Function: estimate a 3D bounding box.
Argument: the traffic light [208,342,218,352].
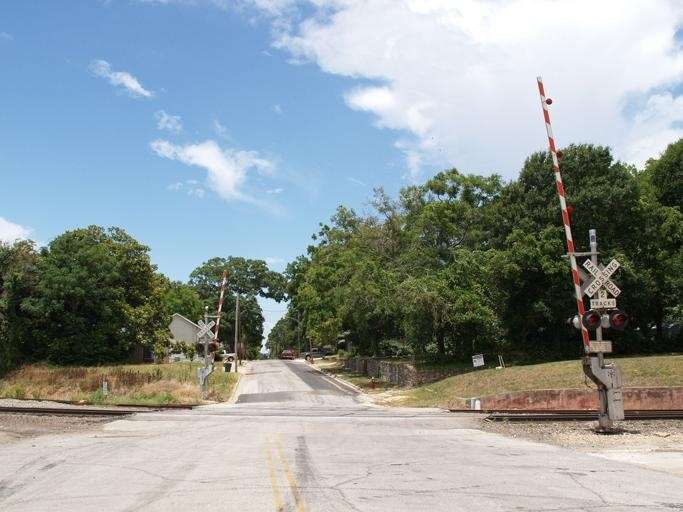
[{"bbox_3d":[-6.932,4.745,34.796,0.461,0.623,1.601,2,-16,-11],"label":"traffic light"}]

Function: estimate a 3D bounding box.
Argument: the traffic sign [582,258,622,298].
[{"bbox_3d":[9.040,0.716,22.574,1.154,1.240,0.696,-7,-14,21],"label":"traffic sign"}]

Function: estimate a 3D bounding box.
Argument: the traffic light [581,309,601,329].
[{"bbox_3d":[8.487,2.114,21.892,0.735,0.613,0.383,3,-14,-17],"label":"traffic light"}]
